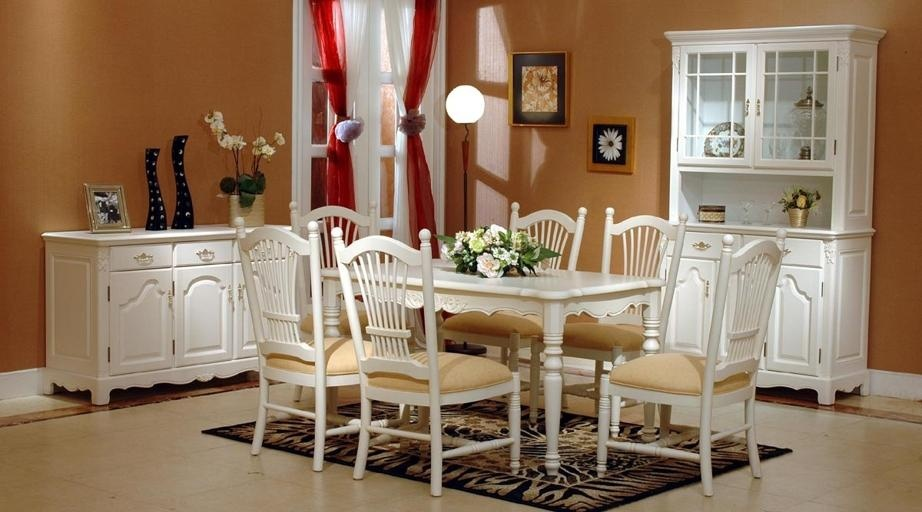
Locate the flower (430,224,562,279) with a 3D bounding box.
[{"bbox_3d":[0.250,-0.051,5.252,0.903,0.335,0.796,-2,0,38],"label":"flower"}]

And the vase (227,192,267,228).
[{"bbox_3d":[-2.130,-0.451,6.742,0.302,0.311,0.412,6,6,43],"label":"vase"}]

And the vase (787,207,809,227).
[{"bbox_3d":[3.055,-0.359,6.305,0.190,0.130,0.173,0,0,18],"label":"vase"}]

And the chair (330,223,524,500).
[{"bbox_3d":[-0.294,0.622,4.663,0.939,1.660,0.993,-6,11,-32],"label":"chair"}]

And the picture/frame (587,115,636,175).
[{"bbox_3d":[1.585,-1.165,7.183,0.650,0.648,0.077,5,9,36],"label":"picture/frame"}]

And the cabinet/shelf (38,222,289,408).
[{"bbox_3d":[-2.846,0.518,6.577,0.778,1.239,2.062,-2,-1,21],"label":"cabinet/shelf"}]

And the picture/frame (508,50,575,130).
[{"bbox_3d":[0.902,-1.817,7.504,0.950,1.021,0.120,3,5,27],"label":"picture/frame"}]

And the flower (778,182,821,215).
[{"bbox_3d":[3.106,-0.527,6.363,0.291,0.137,0.278,-16,13,15],"label":"flower"}]

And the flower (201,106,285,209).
[{"bbox_3d":[-2.097,-0.945,6.751,0.721,0.915,0.467,-3,10,-19],"label":"flower"}]
